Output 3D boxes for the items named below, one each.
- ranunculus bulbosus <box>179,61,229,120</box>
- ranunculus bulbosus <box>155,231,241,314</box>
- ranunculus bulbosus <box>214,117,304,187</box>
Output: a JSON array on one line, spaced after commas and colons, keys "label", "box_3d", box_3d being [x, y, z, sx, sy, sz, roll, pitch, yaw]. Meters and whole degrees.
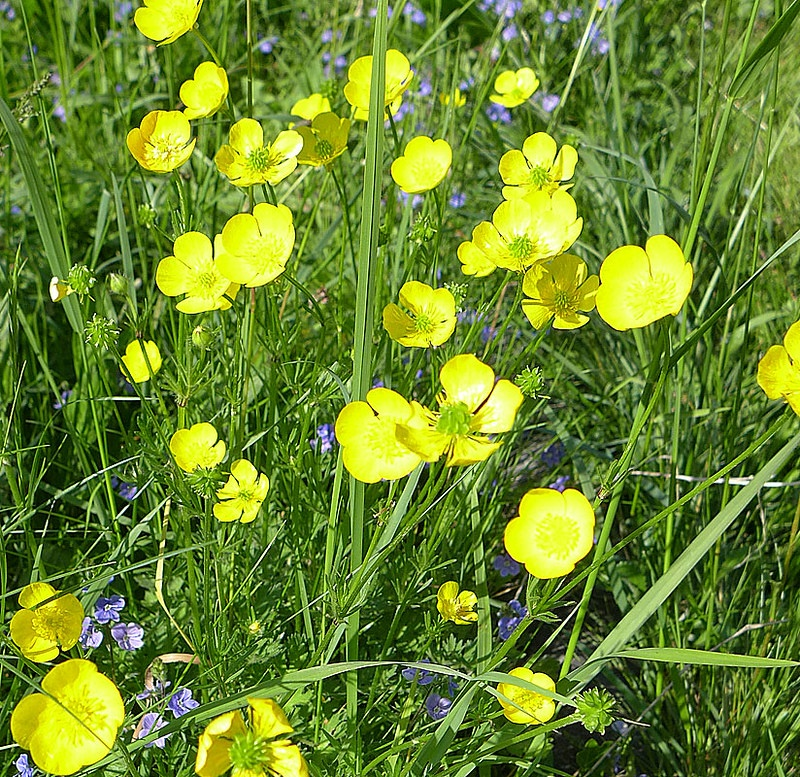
[{"label": "ranunculus bulbosus", "box_3d": [-0.385, -0.578, 1.681, 0.108, 0.120, 0.068, -16, 89, -37]}, {"label": "ranunculus bulbosus", "box_3d": [-0.382, -0.207, 1.582, 0.125, 0.060, 0.188, -11, 81, 20]}, {"label": "ranunculus bulbosus", "box_3d": [-0.283, -0.470, 1.662, 0.122, 0.149, 0.076, -16, 100, -17]}]
